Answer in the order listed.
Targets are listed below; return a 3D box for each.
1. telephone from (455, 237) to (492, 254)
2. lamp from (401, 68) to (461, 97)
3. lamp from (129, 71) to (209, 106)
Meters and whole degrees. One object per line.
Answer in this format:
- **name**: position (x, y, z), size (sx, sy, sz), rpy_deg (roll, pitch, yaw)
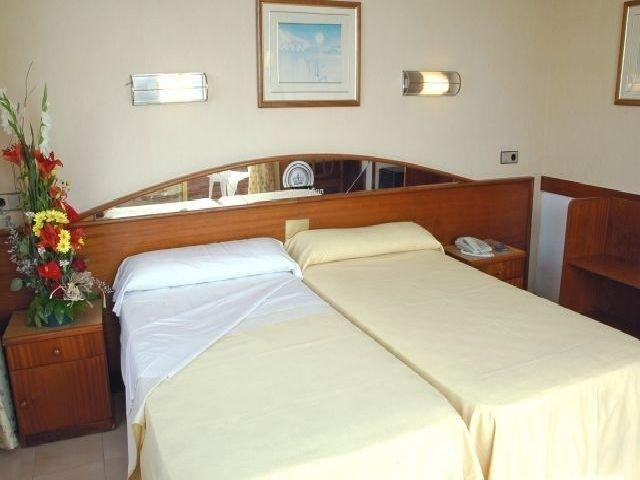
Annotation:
- **telephone**: position (1.358, 0.048, 4.171), size (0.154, 0.070, 0.202), rpy_deg (-4, 15, -25)
- **lamp**: position (0.980, -1.383, 4.187), size (0.486, 0.251, 0.180), rpy_deg (-1, 5, -15)
- **lamp**: position (-1.107, -1.102, 3.397), size (0.503, 0.268, 0.119), rpy_deg (-6, 7, -15)
